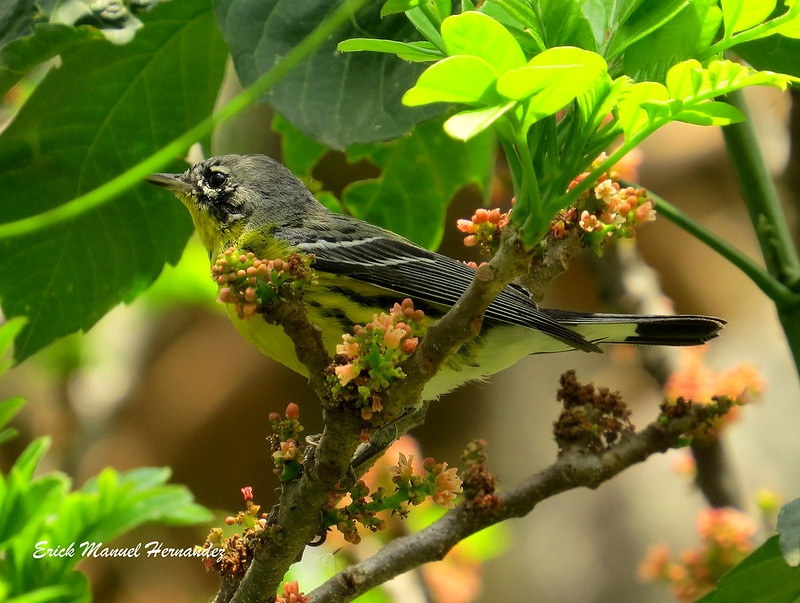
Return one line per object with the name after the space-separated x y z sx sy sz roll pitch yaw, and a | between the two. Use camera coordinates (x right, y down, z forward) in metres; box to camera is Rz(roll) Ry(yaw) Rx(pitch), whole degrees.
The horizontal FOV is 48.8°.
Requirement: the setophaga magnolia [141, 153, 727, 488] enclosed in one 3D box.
0.110 -0.004 3.371 2.046 1.019 0.648 4 -17 0 | setophaga magnolia
